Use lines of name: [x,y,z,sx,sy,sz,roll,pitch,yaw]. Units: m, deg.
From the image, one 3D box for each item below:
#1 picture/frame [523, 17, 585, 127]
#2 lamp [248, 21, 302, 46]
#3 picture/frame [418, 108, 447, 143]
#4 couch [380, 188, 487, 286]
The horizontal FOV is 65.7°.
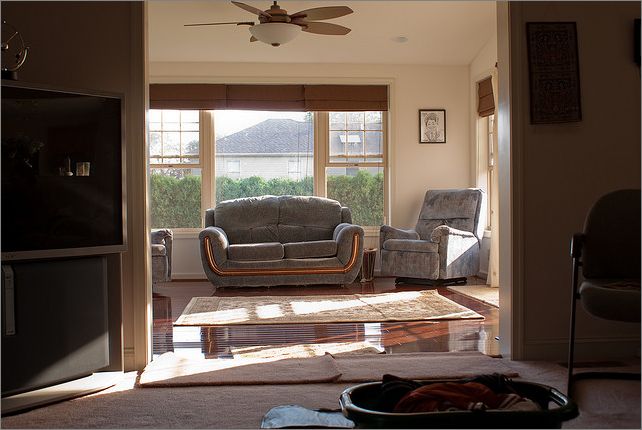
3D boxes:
picture/frame: [1.591,-0.977,3.405,0.364,0.690,0.204,-4,13,8]
lamp: [-0.432,-1.654,4.491,0.269,0.084,0.269,-4,-7,34]
picture/frame: [1.568,-1.281,7.103,0.538,0.610,0.043,0,-2,-7]
couch: [1.442,0.304,6.713,1.279,1.286,1.330,-5,-9,42]
